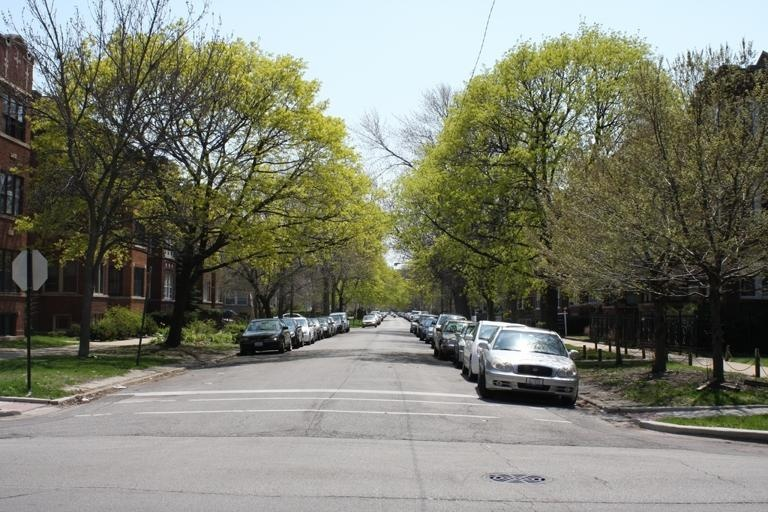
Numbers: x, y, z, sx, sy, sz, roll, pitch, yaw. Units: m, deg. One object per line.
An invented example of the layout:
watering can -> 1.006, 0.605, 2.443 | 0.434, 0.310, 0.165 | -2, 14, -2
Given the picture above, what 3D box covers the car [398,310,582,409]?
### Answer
car -> 3.958, 3.144, 20.720 | 2.641, 2.564, 3.313 | 3, -10, -15
